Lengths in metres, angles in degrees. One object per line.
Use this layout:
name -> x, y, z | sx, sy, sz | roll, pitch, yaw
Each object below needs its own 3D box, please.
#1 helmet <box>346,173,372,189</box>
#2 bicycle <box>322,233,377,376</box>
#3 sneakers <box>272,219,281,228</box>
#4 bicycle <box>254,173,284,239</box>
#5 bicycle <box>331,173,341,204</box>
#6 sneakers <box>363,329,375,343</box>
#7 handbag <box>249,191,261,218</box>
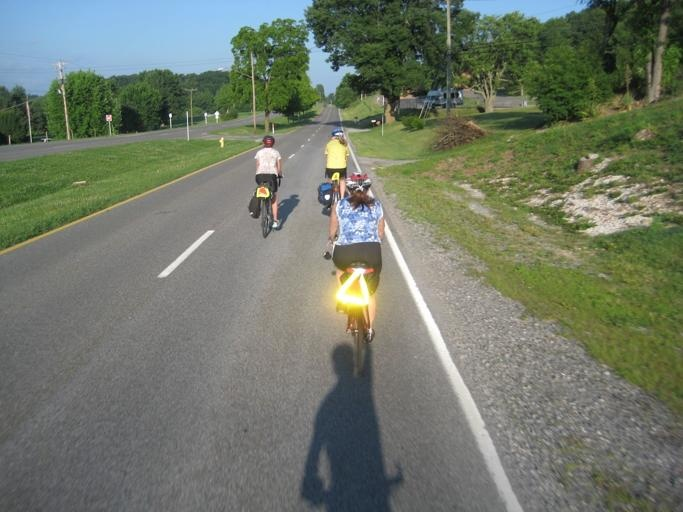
helmet -> 0.213, -0.973, 6.627 | 0.199, 0.156, 0.299 | -2, 13, -5
bicycle -> 0.185, 0.610, 6.534 | 0.617, 1.560, 1.064 | 0, 15, -1
sneakers -> -1.634, -0.789, 12.520 | 0.138, 0.242, 0.513 | 0, 13, -7
bicycle -> -1.782, -1.165, 11.984 | 0.423, 1.314, 0.982 | 0, 15, 0
bicycle -> -0.160, -1.792, 13.124 | 0.339, 0.991, 0.197 | 0, 3, -16
sneakers -> 0.363, 1.092, 6.726 | 0.111, 0.177, 0.156 | 15, 13, -5
handbag -> -2.064, -1.188, 11.770 | 0.171, 0.522, 0.336 | 0, -10, 16
